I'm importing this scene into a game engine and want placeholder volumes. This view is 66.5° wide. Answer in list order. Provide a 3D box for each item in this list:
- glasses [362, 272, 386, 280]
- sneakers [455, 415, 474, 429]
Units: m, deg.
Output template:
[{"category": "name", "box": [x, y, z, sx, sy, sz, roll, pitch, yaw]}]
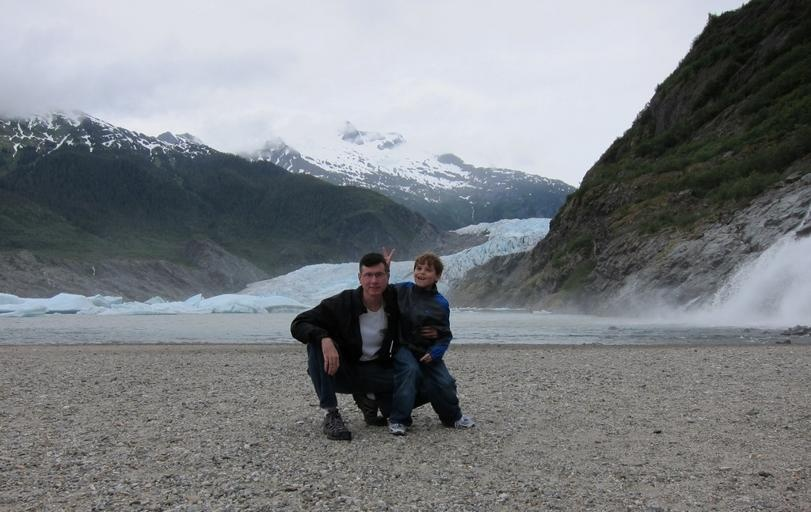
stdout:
[{"category": "glasses", "box": [-0.618, 0.378, 12.779, 0.505, 0.107, 0.106, 0, 5, -5]}, {"category": "sneakers", "box": [1.284, 3.536, 13.174, 0.408, 0.164, 0.213, -6, 10, -5]}]
